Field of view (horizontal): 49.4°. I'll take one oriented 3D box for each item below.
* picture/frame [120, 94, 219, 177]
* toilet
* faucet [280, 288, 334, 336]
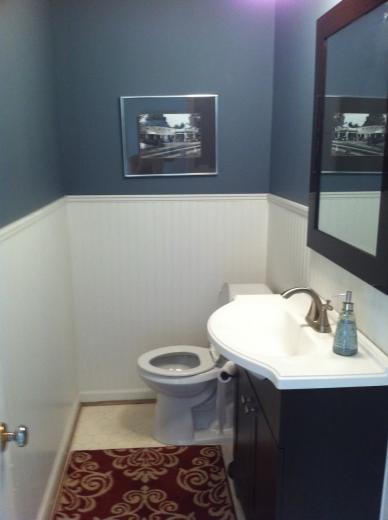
[{"bbox_3d":[-0.161,-0.767,2.517,0.485,0.398,0.020,-2,24,-2],"label":"picture/frame"},{"bbox_3d":[0.071,0.578,2.406,0.734,0.894,0.448,-4,14,-11],"label":"toilet"},{"bbox_3d":[0.366,0.158,1.382,0.158,0.134,0.171,-1,13,-9],"label":"faucet"}]
